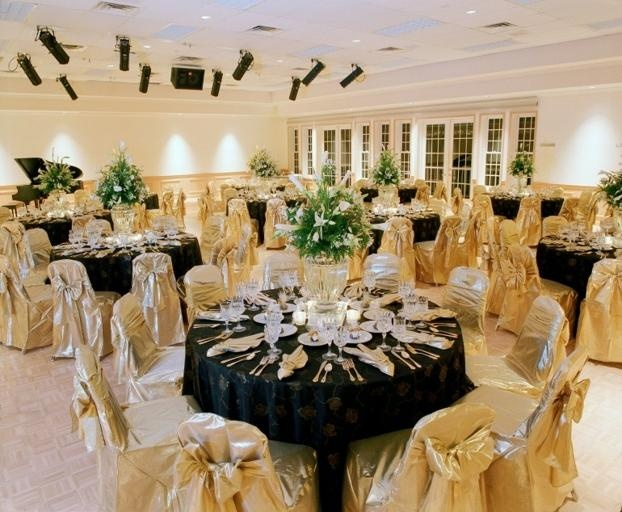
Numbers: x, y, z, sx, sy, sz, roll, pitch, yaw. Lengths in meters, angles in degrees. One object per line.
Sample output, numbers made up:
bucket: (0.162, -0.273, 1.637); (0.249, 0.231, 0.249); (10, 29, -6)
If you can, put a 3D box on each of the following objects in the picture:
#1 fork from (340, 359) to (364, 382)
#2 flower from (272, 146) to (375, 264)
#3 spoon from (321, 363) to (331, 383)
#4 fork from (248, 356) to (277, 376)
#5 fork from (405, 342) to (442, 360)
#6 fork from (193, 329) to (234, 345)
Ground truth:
fork: (0.234, 0.651, 2.499); (0.047, 0.027, 0.170); (-4, 20, -3)
flower: (0.088, -0.332, 3.164); (0.628, 0.710, 0.486); (2, 9, 24)
spoon: (0.084, 0.656, 2.466); (0.025, 0.019, 0.127); (-9, 26, 22)
fork: (-0.282, 0.641, 2.560); (0.052, 0.025, 0.194); (4, 26, 20)
fork: (0.688, 0.588, 2.685); (0.064, 0.045, 0.235); (-25, 30, -37)
fork: (-0.647, 0.541, 2.909); (0.172, 0.034, 0.034); (-14, 20, -36)
